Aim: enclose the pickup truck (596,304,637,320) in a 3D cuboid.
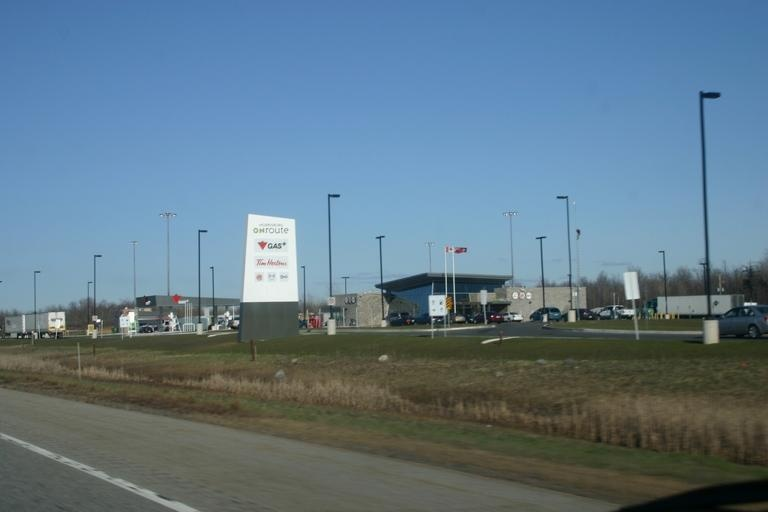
[{"bbox_3d":[21.693,5.190,87.927,2.192,1.185,4.219,-1,-1,-28],"label":"pickup truck"}]
